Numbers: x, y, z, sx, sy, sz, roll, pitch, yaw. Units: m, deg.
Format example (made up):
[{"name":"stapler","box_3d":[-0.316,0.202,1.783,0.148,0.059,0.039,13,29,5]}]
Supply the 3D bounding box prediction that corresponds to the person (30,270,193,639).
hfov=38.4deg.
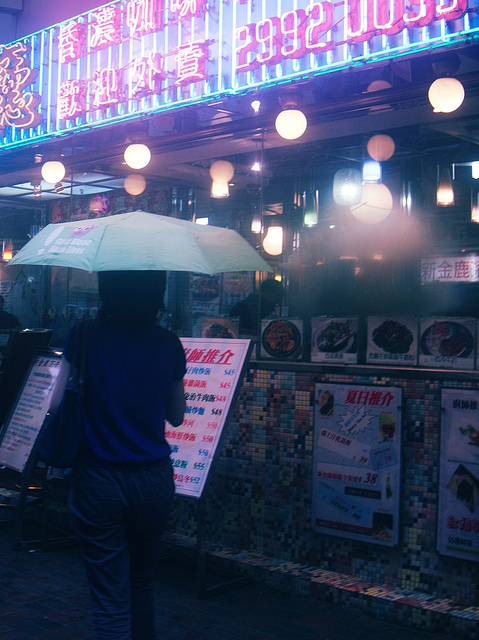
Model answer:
[{"name":"person","box_3d":[-0.467,0.521,2.586,0.575,1.382,0.368,1,0,-23]}]

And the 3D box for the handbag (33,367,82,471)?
[{"name":"handbag","box_3d":[-0.682,0.358,2.518,0.110,0.374,0.266,1,0,-36]}]
